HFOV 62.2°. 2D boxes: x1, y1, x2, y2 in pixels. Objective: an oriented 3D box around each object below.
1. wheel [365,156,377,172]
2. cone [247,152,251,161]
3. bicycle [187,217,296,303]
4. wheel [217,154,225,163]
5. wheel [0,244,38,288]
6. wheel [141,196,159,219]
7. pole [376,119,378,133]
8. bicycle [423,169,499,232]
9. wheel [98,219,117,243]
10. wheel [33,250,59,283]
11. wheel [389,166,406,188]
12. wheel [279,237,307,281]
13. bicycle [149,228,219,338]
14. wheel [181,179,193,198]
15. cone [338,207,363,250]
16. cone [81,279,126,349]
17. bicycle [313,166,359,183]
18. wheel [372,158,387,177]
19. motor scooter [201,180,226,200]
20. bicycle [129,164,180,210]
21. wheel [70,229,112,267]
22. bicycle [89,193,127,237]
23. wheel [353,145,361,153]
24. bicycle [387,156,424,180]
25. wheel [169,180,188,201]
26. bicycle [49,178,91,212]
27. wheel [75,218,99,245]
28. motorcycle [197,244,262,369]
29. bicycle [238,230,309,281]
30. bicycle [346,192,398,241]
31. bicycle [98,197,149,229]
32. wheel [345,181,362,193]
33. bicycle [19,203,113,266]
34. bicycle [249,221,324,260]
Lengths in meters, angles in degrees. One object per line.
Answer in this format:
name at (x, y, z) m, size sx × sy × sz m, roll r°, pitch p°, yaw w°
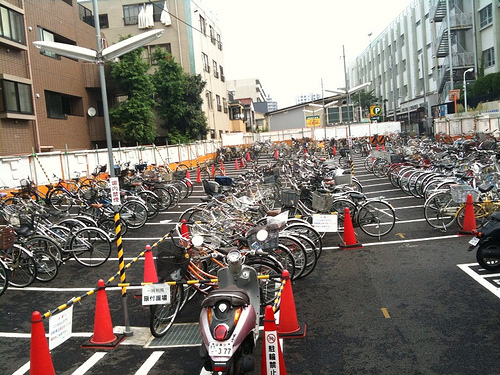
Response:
wheel at (6.044, -1.143, 20.798) m, size 0.357 × 0.932 × 0.888 m, roll 9°, pitch 1°, yaw -1°
cone at (-0.129, -2.358, 32.266) m, size 0.304 × 0.673 × 0.876 m, roll -8°, pitch 7°, yaw 0°
bicycle at (-0.089, 1.243, 7.151) m, size 1.722 × 1.201 × 1.059 m, roll 5°, pitch 7°, yaw 4°
wheel at (-2.199, -2.232, 32.003) m, size 0.805 × 0.509 × 0.830 m, roll -2°, pitch 13°, yaw 0°
wheel at (-4.548, 1.553, 8.151) m, size 0.739 × 0.761 × 0.431 m, roll -9°, pitch 7°, yaw -3°
wheel at (-3.212, 0.650, 13.434) m, size 0.665 × 0.692 × 0.158 m, roll 9°, pitch 9°, yaw 33°
pole at (13.728, -6.420, 44.934) m, size 0.148 × 0.911 × 0.655 m, roll -6°, pitch 7°, yaw 19°
bicycle at (5.100, 0.428, 10.332) m, size 1.837 × 1.240 × 1.189 m, roll -12°, pitch 15°, yaw 1°
wheel at (-3.564, 1.059, 10.663) m, size 0.576 × 0.626 × 0.223 m, roll 5°, pitch 2°, yaw 16°
wheel at (-4.168, 1.575, 8.678) m, size 0.624 × 0.652 × 0.265 m, roll 6°, pitch 11°, yaw 27°
wheel at (5.686, -0.347, 16.075) m, size 0.635 × 0.670 × 0.152 m, roll 1°, pitch -7°, yaw -27°
wheel at (0.828, 1.272, 7.567) m, size 0.161 × 0.724 × 0.674 m, roll -15°, pitch 29°, yaw -42°
bicycle at (-1.131, 1.476, 6.617) m, size 0.889 × 1.016 × 1.589 m, roll 21°, pitch 11°, yaw -6°
wheel at (-2.513, 0.031, 16.544) m, size 0.131 × 0.577 × 0.599 m, roll -12°, pitch 38°, yaw -5°
cone at (2.266, 0.960, 9.491) m, size 0.507 × 0.758 × 0.492 m, roll -7°, pitch 1°, yaw -22°
cone at (-2.177, 1.868, 6.154) m, size 0.633 × 0.855 × 0.665 m, roll -4°, pitch -5°, yaw 4°
bicycle at (2.266, -0.290, 11.089) m, size 1.026 × 0.705 × 0.671 m, roll 3°, pitch 7°, yaw 7°
wheel at (5.817, -0.869, 18.894) m, size 0.741 × 0.748 × 0.264 m, roll -34°, pitch 15°, yaw -30°
motor scooter at (-0.992, 0.042, 11.361) m, size 0.631 × 0.613 × 0.499 m, roll -2°, pitch -6°, yaw 33°
bicycle at (-3.614, -0.061, 15.508) m, size 2.426 × 1.636 × 1.270 m, roll 4°, pitch 7°, yaw 7°
wheel at (-3.532, 1.334, 9.209) m, size 0.892 × 0.667 × 0.547 m, roll -10°, pitch 7°, yaw -6°
bicycle at (-4.042, 0.777, 11.663) m, size 1.278 × 0.865 × 0.828 m, roll 7°, pitch 8°, yaw 2°
wheel at (8.728, -3.120, 33.872) m, size 0.231 × 0.657 × 1.094 m, roll -9°, pitch 7°, yaw -6°
bicycle at (5.888, -0.799, 15.715) m, size 1.235 × 0.838 × 0.688 m, roll -7°, pitch 21°, yaw 9°
wheel at (-2.700, 0.071, 16.030) m, size 0.174 × 0.693 × 0.705 m, roll -2°, pitch 20°, yaw 32°
bicycle at (-6.512, 0.311, 14.982) m, size 1.546 × 0.999 × 0.820 m, roll -3°, pitch 28°, yaw 16°
wheel at (-3.905, 1.028, 9.933) m, size 0.579 × 0.626 × 0.143 m, roll -7°, pitch -7°, yaw 25°
motorcycle at (-0.178, 1.485, 5.243) m, size 0.697 × 0.965 × 1.443 m, roll -2°, pitch 10°, yaw 6°
bicycle at (0.401, 1.207, 7.663) m, size 1.262 × 0.835 × 0.671 m, roll -3°, pitch 15°, yaw 2°
bicycle at (2.974, 0.607, 10.234) m, size 1.008 × 1.126 × 1.318 m, roll -7°, pitch 7°, yaw 14°
bicycle at (-3.683, 0.782, 12.164) m, size 1.345 × 0.903 × 0.736 m, roll -11°, pitch 18°, yaw -3°
wheel at (3.338, -0.082, 13.213) m, size 0.111 × 0.488 × 0.457 m, roll -19°, pitch 32°, yaw -39°
bicycle at (-4.263, 1.106, 9.225) m, size 2.232 × 1.462 × 1.073 m, roll -5°, pitch 5°, yaw 6°
bicycle at (0.625, 0.835, 8.061) m, size 1.580 × 0.843 × 0.714 m, roll -1°, pitch 17°, yaw 2°
